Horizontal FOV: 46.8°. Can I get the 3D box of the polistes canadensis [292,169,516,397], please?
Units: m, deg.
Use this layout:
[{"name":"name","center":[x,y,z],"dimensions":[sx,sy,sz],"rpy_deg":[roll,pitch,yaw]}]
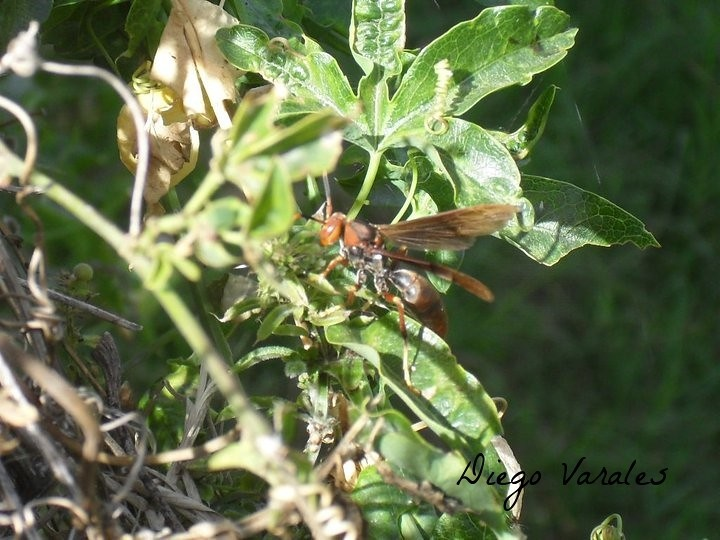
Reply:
[{"name":"polistes canadensis","center":[0.044,-0.011,1.400],"dimensions":[0.350,0.241,0.309],"rpy_deg":[25,33,11]}]
